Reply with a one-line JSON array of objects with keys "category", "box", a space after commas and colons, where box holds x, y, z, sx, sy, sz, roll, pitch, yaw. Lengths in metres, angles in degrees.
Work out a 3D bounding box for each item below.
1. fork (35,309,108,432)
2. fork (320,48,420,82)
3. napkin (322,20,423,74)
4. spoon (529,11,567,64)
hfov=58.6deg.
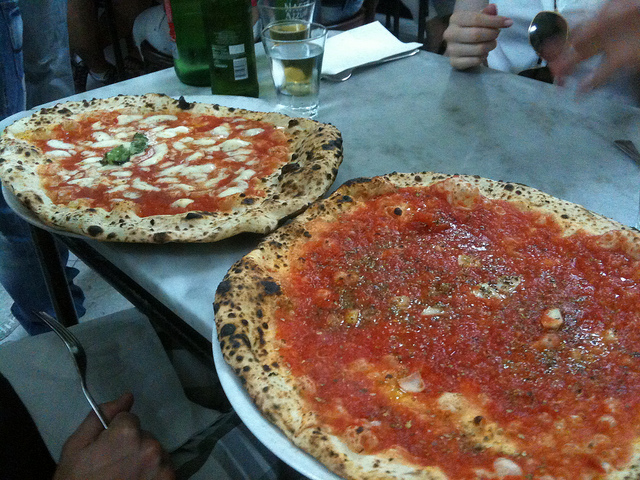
[{"category": "fork", "box": [-0.544, 0.296, 1.251, 0.046, 0.053, 0.429, -52, 51, 7]}, {"category": "fork", "box": [0.167, -0.548, 1.770, 0.370, 0.041, 0.066, -26, 46, -31]}, {"category": "napkin", "box": [0.127, -0.603, 1.794, 0.343, 0.066, 0.178, -16, 47, -26]}, {"category": "spoon", "box": [0.518, -0.454, 1.294, 0.096, 0.096, 0.027, 7, 11, 39]}]
